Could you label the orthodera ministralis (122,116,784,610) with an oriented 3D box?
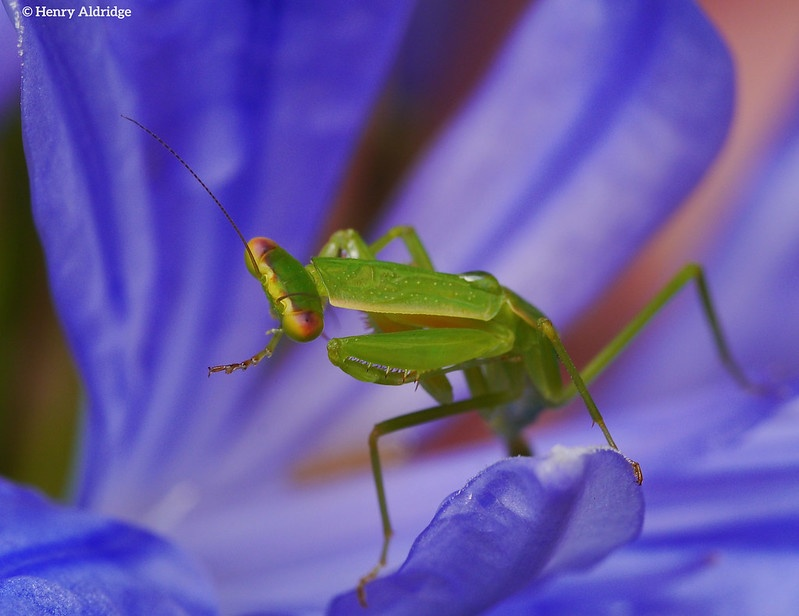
[{"bbox_3d":[0.108,0.134,1.481,0.830,0.766,0.430,17,1,-14],"label":"orthodera ministralis"}]
